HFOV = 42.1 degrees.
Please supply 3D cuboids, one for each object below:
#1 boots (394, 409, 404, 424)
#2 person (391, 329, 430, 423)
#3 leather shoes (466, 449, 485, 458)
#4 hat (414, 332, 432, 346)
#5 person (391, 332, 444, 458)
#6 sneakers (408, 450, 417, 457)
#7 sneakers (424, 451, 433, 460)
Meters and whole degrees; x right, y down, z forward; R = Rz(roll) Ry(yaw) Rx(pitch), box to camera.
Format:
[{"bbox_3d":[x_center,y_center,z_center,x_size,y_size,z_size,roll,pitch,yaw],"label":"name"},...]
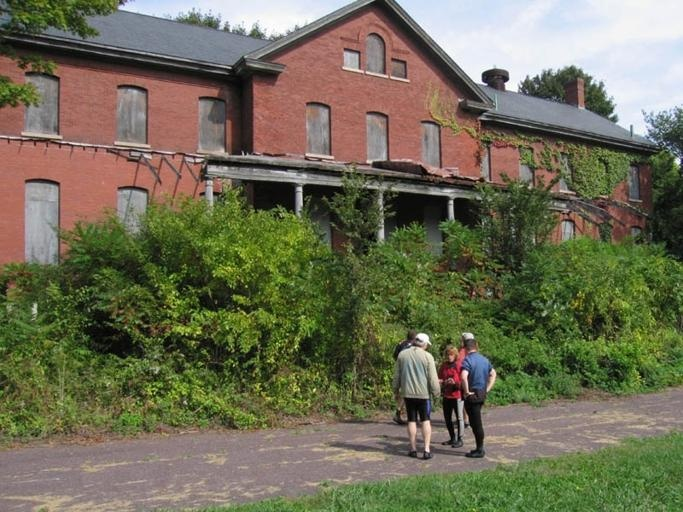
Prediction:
[{"bbox_3d":[1.400,3.880,21.137,0.196,0.291,0.269,-14,-18,11],"label":"boots"},{"bbox_3d":[1.575,3.000,21.264,0.997,2.652,0.734,3,17,-4],"label":"person"},{"bbox_3d":[2.841,4.161,18.677,0.311,0.144,0.182,3,-7,5],"label":"leather shoes"},{"bbox_3d":[1.798,1.837,19.293,0.273,0.175,0.437,10,6,29],"label":"hat"},{"bbox_3d":[1.635,2.988,18.919,0.877,2.395,1.185,-4,15,-16],"label":"person"},{"bbox_3d":[1.504,4.196,18.744,0.091,0.107,0.257,1,-2,-2],"label":"sneakers"},{"bbox_3d":[1.843,4.214,18.718,0.090,0.125,0.280,-1,-2,30],"label":"sneakers"}]
